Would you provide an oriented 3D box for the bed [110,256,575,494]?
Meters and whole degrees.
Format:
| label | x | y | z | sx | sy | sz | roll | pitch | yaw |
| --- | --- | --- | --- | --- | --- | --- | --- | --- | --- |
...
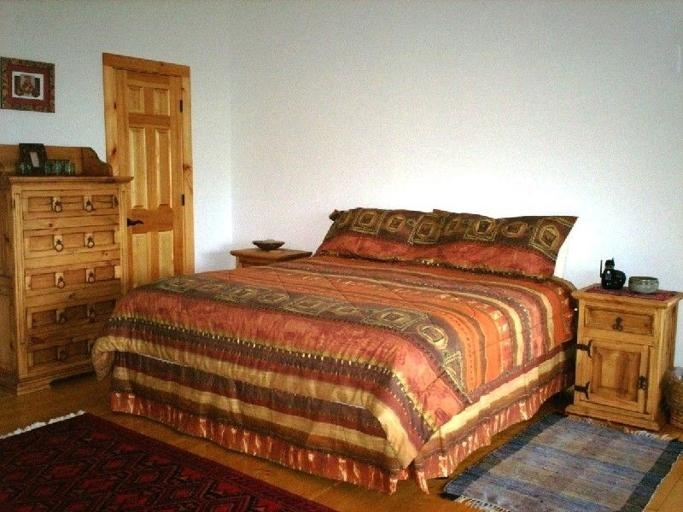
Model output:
| label | x | y | z | sx | sy | sz | roll | pitch | yaw |
| --- | --- | --- | --- | --- | --- | --- | --- | --- | --- |
| bed | 0.324 | 0.537 | 2.913 | 1.612 | 0.453 | 1.602 | 7 | 9 | 39 |
